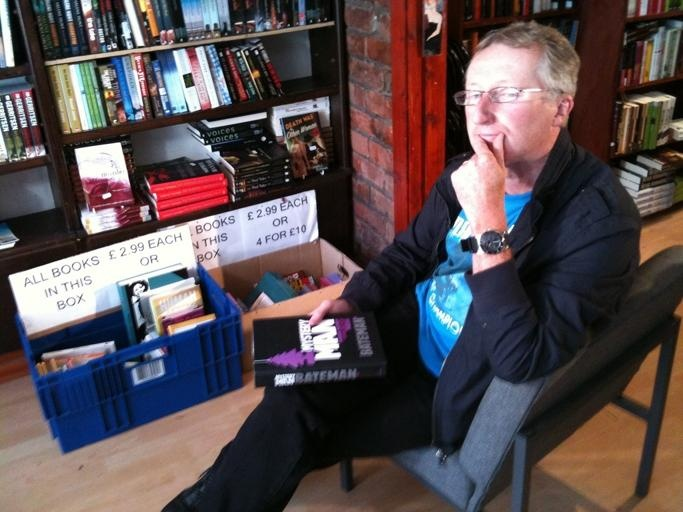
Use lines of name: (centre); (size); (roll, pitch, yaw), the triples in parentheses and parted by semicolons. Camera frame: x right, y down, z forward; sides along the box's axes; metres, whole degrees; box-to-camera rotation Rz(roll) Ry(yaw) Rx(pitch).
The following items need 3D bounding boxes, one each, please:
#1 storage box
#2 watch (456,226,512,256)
storage box: (-0.605, 0.258, 2.555); (1.453, 0.476, 0.789); (-21, 38, -29)
watch: (0.403, -0.030, 1.552); (0.085, 0.072, 0.089); (-5, -1, -13)
